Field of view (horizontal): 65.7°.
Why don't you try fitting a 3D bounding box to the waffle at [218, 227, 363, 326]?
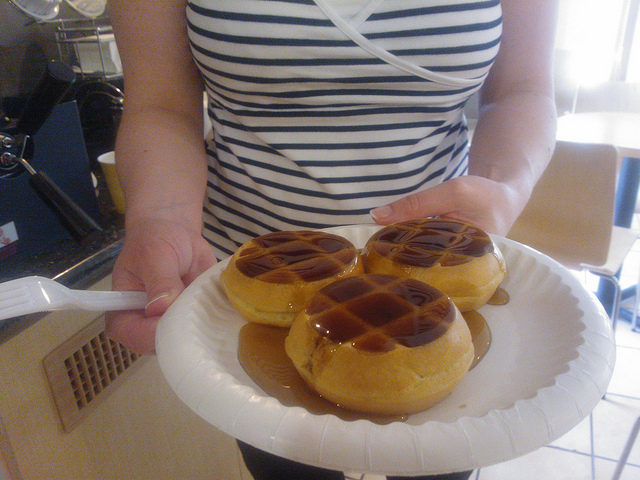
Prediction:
[{"bbox_3d":[-0.054,0.023,0.776,0.164,0.057,0.159,-1,23,0],"label":"waffle"}]
